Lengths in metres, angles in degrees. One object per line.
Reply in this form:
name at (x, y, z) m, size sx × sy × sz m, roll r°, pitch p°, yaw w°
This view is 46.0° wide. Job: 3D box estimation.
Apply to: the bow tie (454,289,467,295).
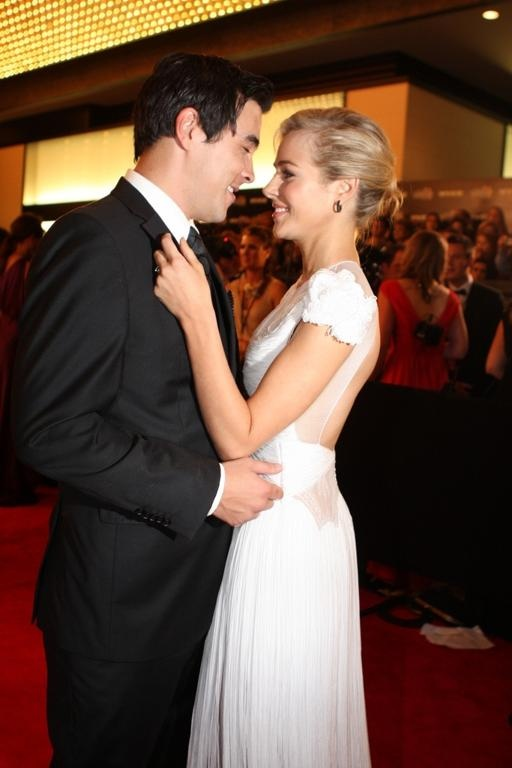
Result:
bow tie at (1.266, -0.565, 3.735) m, size 0.027 × 0.037 × 0.104 m, roll -11°, pitch -1°, yaw 35°
